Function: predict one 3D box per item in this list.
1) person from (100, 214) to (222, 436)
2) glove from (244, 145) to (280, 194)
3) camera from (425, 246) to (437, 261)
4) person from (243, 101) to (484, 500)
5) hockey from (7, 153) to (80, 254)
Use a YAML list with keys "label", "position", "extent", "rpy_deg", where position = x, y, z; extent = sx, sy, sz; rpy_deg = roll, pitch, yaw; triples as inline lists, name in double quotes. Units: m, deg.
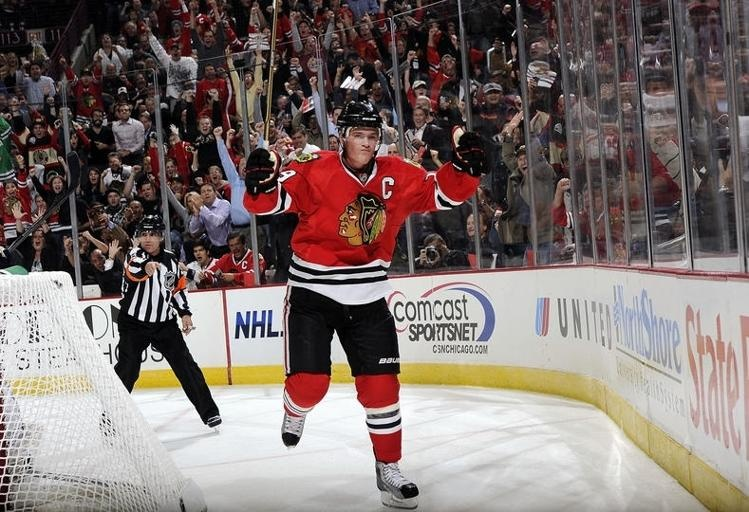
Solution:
- label: "person"
  position: [-1.975, 0.625, 7.573]
  extent: [0.889, 1.477, 0.503]
  rpy_deg: [-4, 3, -14]
- label: "glove"
  position: [-0.721, -0.560, 5.428]
  extent: [0.206, 0.307, 0.297]
  rpy_deg: [8, -38, 0]
- label: "camera"
  position: [0.632, -0.043, 9.077]
  extent: [0.119, 0.138, 0.127]
  rpy_deg: [2, 1, 11]
- label: "person"
  position: [-0.100, 0.312, 5.596]
  extent: [1.491, 2.743, 0.572]
  rpy_deg: [-4, 3, -10]
- label: "hockey"
  position: [-4.117, -0.669, 10.105]
  extent: [1.581, 0.415, 0.123]
  rpy_deg: [-56, 13, -29]
